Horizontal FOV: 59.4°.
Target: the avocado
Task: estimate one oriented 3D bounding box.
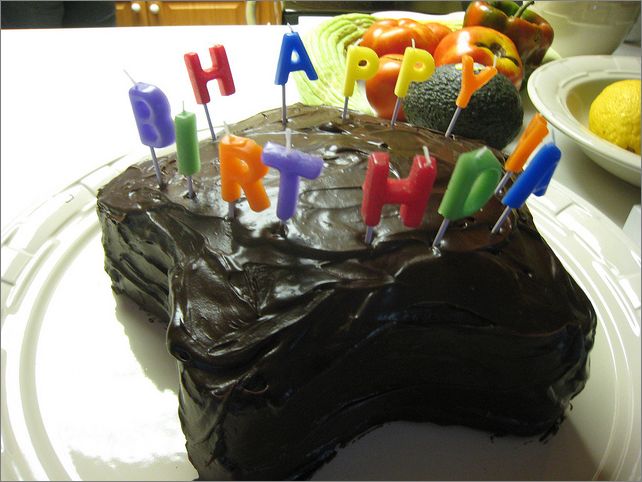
[{"bbox_3d":[0.467,-0.426,1.815,0.391,0.290,0.219,20,41,12],"label":"avocado"}]

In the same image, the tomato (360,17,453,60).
[{"bbox_3d":[0.323,-0.787,2.271,0.392,0.203,0.359,2,17,0],"label":"tomato"}]
